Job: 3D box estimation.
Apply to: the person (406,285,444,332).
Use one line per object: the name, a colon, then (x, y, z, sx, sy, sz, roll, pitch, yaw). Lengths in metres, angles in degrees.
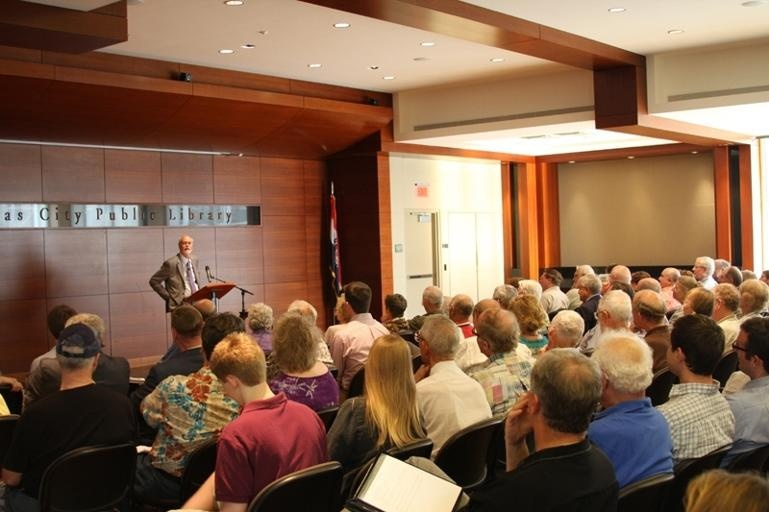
person: (0.553, 0.625, 6.754, 0.776, 0.531, 0.329, 1, -1, -40)

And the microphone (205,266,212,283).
microphone: (-3.105, 0.310, 10.211, 0.119, 0.316, 0.304, -3, 3, -20)

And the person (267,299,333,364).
person: (-0.649, 0.764, 5.261, 0.303, 0.704, 0.229, -4, 2, -29)

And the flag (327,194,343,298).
flag: (-0.975, -0.350, 11.529, 0.227, 2.176, 0.482, -2, 2, -5)
